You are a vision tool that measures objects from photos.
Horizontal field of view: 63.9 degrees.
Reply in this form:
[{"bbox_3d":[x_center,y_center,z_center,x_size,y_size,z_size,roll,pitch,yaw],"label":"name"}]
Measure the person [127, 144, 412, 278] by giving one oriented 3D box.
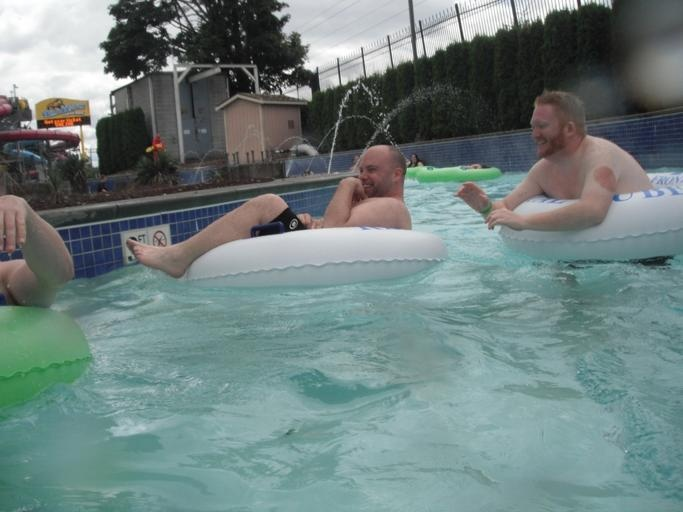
[{"bbox_3d":[-0.454,-0.255,3.901,2.034,0.934,0.805,0,1,-3],"label":"person"}]
